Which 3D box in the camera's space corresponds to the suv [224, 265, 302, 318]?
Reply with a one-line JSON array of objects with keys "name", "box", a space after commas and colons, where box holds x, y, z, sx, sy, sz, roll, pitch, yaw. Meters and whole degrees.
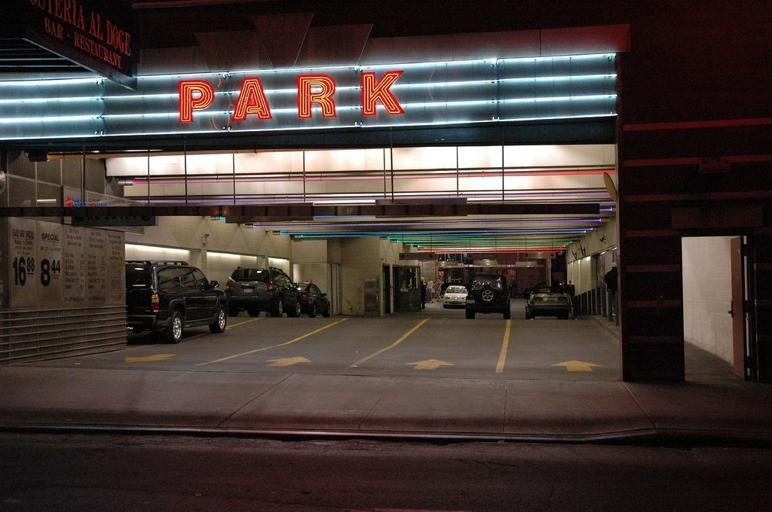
[{"name": "suv", "box": [-5.416, 1.756, 30.260, 1.809, 2.458, 3.358, 4, 8, 30]}]

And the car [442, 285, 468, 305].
[{"name": "car", "box": [4.730, 2.879, 46.831, 1.451, 1.370, 2.213, 0, 6, 3]}]

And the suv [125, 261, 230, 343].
[{"name": "suv", "box": [-6.943, 1.356, 22.162, 1.790, 1.667, 3.780, 0, 2, 21]}]

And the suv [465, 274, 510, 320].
[{"name": "suv", "box": [5.313, 2.055, 35.312, 1.624, 1.451, 2.981, 1, 2, 9]}]
